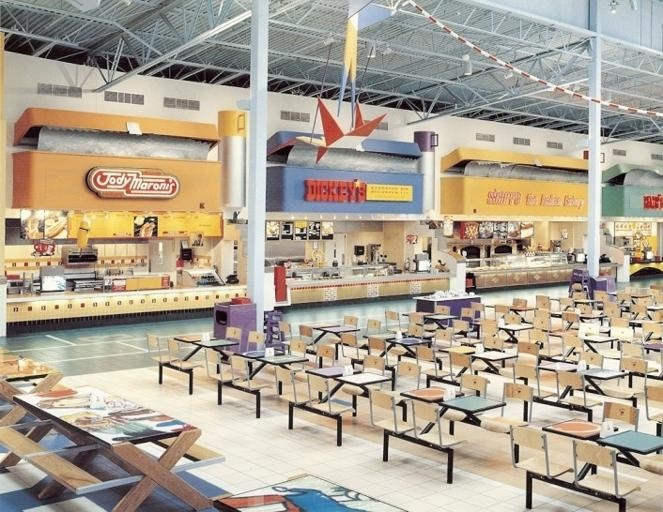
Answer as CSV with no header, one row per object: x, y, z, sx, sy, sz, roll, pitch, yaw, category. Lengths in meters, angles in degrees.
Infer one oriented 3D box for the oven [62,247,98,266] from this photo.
-7.201,0.052,15.631,0.980,0.445,0.662,1,-4,-37,oven
